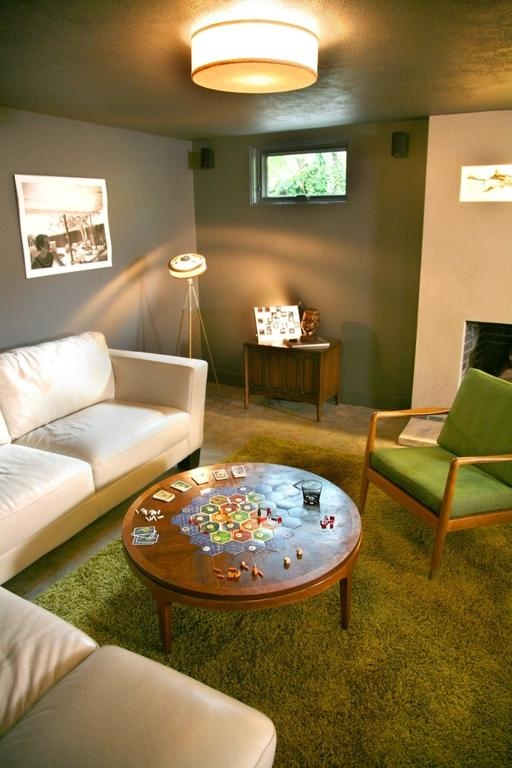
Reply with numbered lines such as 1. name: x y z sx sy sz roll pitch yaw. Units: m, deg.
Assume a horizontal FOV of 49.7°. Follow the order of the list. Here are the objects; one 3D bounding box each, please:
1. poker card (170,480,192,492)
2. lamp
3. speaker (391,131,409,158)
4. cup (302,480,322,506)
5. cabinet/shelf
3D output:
1. poker card: -0.342 0.464 2.498 0.049 0.006 0.065 -14 23 -30
2. lamp: -0.005 -1.268 2.151 0.491 0.142 0.524 -2 18 -3
3. speaker: 1.066 -1.731 3.991 0.161 0.165 0.073 -13 22 -33
4. cup: 0.245 0.473 2.380 0.078 0.068 0.087 0 9 0
5. cabinet/shelf: 0.323 -0.180 4.810 0.949 0.792 0.631 7 16 28
